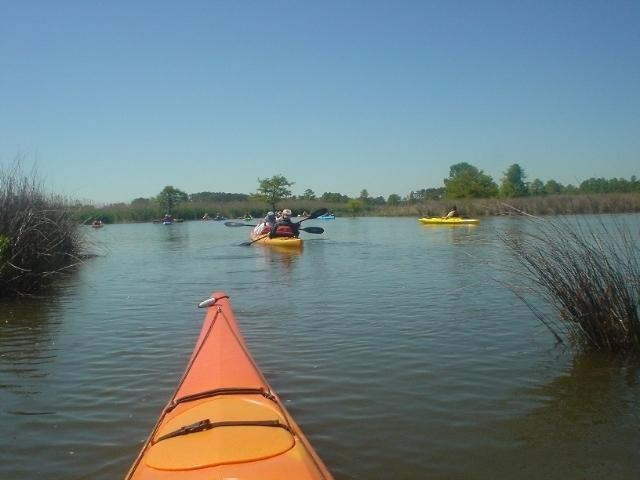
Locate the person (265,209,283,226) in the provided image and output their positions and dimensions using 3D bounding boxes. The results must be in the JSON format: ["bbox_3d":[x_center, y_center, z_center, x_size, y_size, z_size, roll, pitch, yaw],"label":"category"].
[{"bbox_3d":[-2.053,-1.046,25.031,1.172,0.527,0.593,1,1,-17],"label":"person"}]

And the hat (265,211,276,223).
[{"bbox_3d":[-2.306,-1.068,24.910,0.460,0.197,0.566,1,16,-11],"label":"hat"}]

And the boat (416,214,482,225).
[{"bbox_3d":[9.085,-1.626,37.978,4.453,0.505,1.231,1,1,26],"label":"boat"}]

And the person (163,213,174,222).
[{"bbox_3d":[-15.922,-2.386,56.043,1.052,0.420,1.205,1,7,-12],"label":"person"}]

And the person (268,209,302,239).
[{"bbox_3d":[-1.518,-0.722,23.053,1.281,0.525,1.406,-1,10,-5],"label":"person"}]

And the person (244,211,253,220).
[{"bbox_3d":[-8.891,-3.062,65.571,1.338,0.602,1.730,1,4,-5],"label":"person"}]

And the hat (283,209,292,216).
[{"bbox_3d":[-1.460,-1.248,23.596,0.488,0.171,0.609,0,1,-11],"label":"hat"}]
